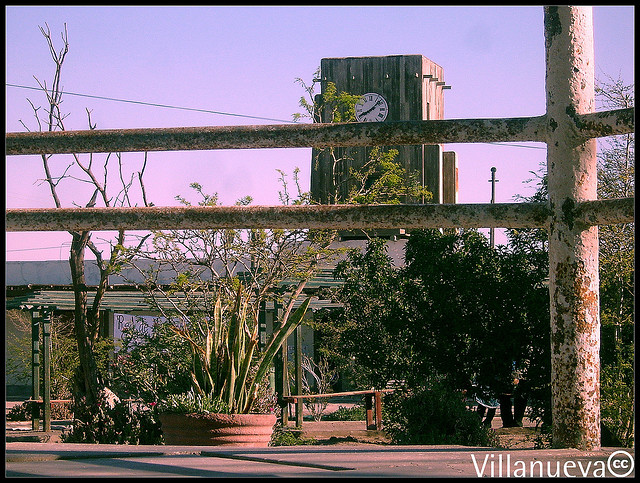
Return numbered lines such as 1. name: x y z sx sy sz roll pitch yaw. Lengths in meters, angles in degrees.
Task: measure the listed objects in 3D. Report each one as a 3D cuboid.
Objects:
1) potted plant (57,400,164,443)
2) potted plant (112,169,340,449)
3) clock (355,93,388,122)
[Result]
1. potted plant: -2.706 2.375 20.175 1.084 0.606 0.868 -1 -5 3
2. potted plant: -1.094 1.315 19.921 1.772 2.601 1.902 -2 5 -36
3. clock: 0.999 -2.707 30.767 0.703 0.593 0.346 -4 -10 25
